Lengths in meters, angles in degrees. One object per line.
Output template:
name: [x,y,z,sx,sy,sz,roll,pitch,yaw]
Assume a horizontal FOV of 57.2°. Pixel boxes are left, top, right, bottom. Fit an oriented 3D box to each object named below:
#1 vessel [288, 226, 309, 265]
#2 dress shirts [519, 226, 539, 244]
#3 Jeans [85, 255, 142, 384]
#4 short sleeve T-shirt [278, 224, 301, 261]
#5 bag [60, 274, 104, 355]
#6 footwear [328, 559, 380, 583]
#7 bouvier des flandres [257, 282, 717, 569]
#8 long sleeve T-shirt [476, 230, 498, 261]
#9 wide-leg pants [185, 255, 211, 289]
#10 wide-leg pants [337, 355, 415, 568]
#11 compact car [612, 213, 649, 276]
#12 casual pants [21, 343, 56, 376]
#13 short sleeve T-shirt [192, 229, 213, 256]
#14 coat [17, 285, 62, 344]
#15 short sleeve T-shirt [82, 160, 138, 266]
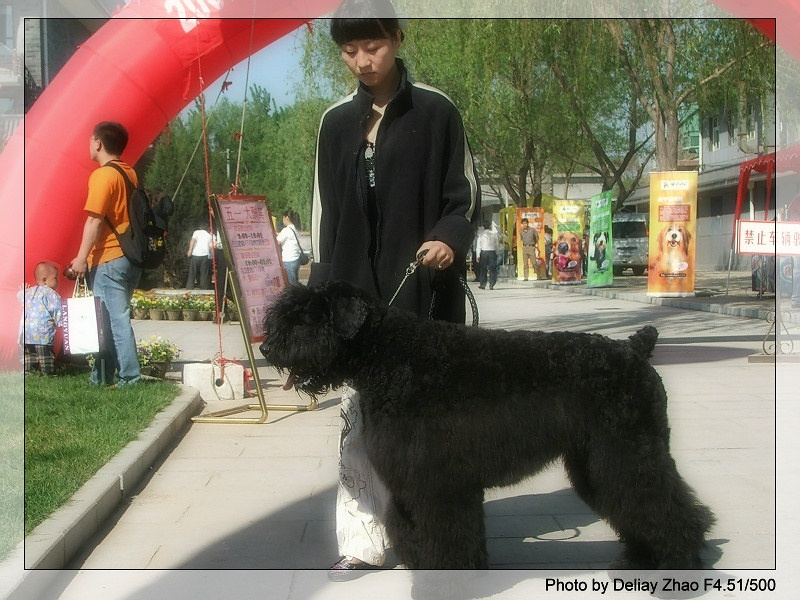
vessel: [-1.959,-1.004,14.335,0.189,0.558,0.310,-19,-8,5]
dress shirts: [4.485,-2.151,25.251,0.763,0.860,0.451,-2,0,18]
Jeans: [-2.895,0.214,7.492,0.490,1.355,0.563,4,-21,-40]
short sleeve T-shirt: [-2.021,-1.040,13.602,0.435,0.684,0.433,-3,7,-20]
bag: [-3.062,0.177,7.122,0.367,0.798,0.254,-6,-19,-15]
footwear: [-0.275,1.549,4.277,0.247,0.115,0.134,5,1,6]
bouvier des flandres: [0.486,0.744,4.240,2.351,1.700,1.007,0,4,2]
long sleeve T-shirt: [2.616,-1.610,21.749,0.819,1.119,0.598,2,11,11]
wide-leg pants: [-4.683,-0.625,17.220,0.519,0.800,0.747,-3,7,-17]
wide-leg pants: [-0.237,1.069,4.276,0.313,0.895,0.246,11,-22,-42]
compact car: [9.903,-2.618,31.181,1.685,2.374,3.618,0,17,24]
casual pants: [-3.868,0.646,7.863,0.374,0.528,0.286,1,-2,-20]
short sleeve T-shirt: [-4.558,-1.275,16.831,0.390,0.612,0.818,-3,7,-19]
coat: [-3.885,0.181,7.920,0.546,0.638,0.313,-2,-4,21]
short sleeve T-shirt: [-2.882,-0.859,7.359,0.536,1.076,0.333,-6,9,-41]
